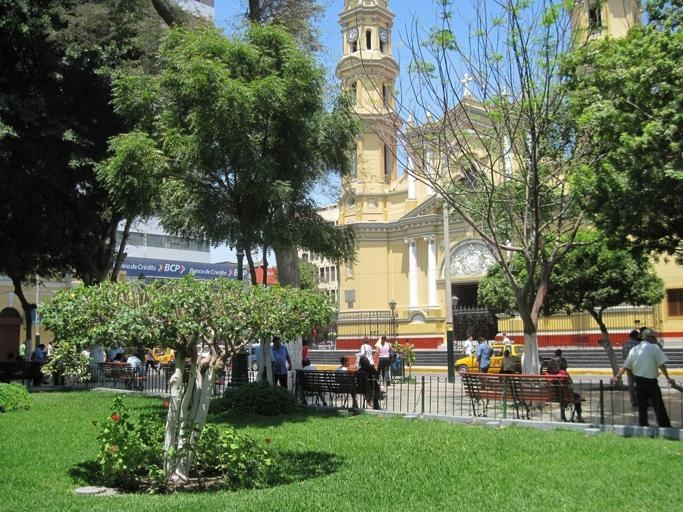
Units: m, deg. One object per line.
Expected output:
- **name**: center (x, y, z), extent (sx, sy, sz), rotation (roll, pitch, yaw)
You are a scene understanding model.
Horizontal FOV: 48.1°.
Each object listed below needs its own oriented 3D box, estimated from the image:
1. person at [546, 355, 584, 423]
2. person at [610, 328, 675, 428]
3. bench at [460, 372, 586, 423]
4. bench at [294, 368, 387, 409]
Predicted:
- **person**: center (5.604, 3.373, 19.110), extent (0.624, 1.264, 1.709), rotation (6, -9, 5)
- **person**: center (6.532, 2.579, 16.305), extent (0.996, 2.124, 1.148), rotation (-3, -10, 18)
- **bench**: center (4.211, 3.307, 17.954), extent (1.023, 1.273, 3.009), rotation (-3, -2, -45)
- **bench**: center (-0.130, 3.522, 20.357), extent (1.107, 1.100, 2.884), rotation (8, -14, -38)
